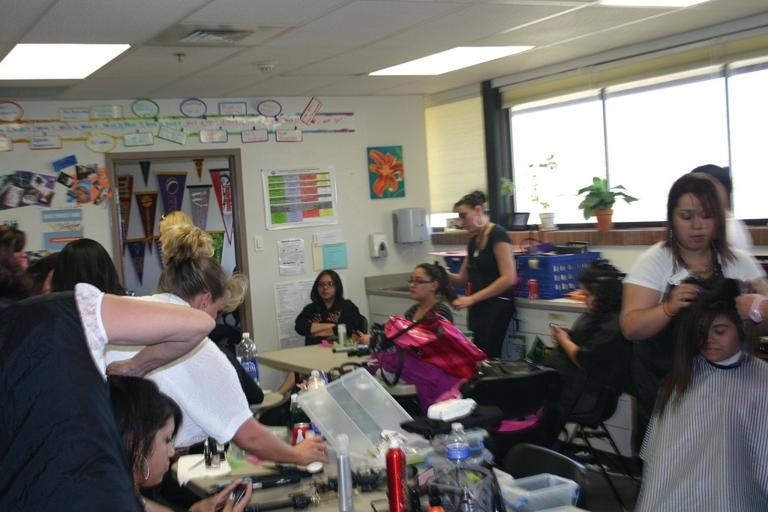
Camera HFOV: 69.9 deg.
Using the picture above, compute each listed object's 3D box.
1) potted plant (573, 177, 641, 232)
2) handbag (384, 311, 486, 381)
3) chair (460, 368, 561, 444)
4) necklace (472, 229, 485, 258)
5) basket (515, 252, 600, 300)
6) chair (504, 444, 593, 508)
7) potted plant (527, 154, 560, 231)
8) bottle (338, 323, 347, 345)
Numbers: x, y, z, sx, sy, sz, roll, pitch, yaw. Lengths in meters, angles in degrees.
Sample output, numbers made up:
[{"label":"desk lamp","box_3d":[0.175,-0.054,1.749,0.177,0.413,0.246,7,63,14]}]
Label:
[{"label":"potted plant","box_3d":[2.036,-0.429,5.005,0.521,0.418,0.520,-4,-11,36]},{"label":"handbag","box_3d":[0.412,0.598,3.655,0.618,0.212,0.605,17,7,13]},{"label":"chair","box_3d":[0.717,0.863,3.538,0.450,0.513,0.572,-3,8,-27]},{"label":"necklace","box_3d":[0.829,-0.084,4.763,0.042,0.152,0.116,19,8,10]},{"label":"basket","box_3d":[1.466,0.116,4.651,0.513,0.272,0.483,-2,4,-20]},{"label":"chair","box_3d":[0.756,1.009,2.551,0.350,0.113,0.253,7,39,10]},{"label":"potted plant","box_3d":[1.606,-0.628,5.588,0.371,0.739,0.328,0,13,30]},{"label":"bottle","box_3d":[-0.335,0.642,4.447,0.059,0.148,0.151,-4,8,-9]}]
